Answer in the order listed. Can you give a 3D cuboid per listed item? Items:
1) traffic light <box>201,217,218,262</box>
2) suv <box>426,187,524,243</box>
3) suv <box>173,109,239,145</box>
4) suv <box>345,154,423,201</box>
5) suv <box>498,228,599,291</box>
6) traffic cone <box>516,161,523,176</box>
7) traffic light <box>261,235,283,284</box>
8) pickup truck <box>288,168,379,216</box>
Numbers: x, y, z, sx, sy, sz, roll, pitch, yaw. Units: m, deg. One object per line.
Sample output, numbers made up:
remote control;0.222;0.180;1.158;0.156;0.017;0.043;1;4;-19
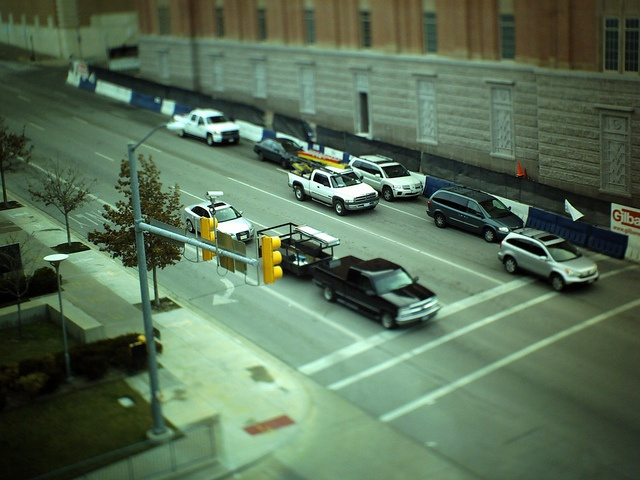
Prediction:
traffic light;-3.458;-0.025;24.058;0.449;1.454;0.711;-3;15;-7
suv;7.859;-1.415;40.234;4.720;1.999;2.125;18;22;34
suv;-7.673;-7.893;54.635;4.050;2.264;1.857;11;19;39
suv;4.077;-3.267;45.206;3.650;2.616;3.028;-13;22;-25
suv;10.183;0.975;34.889;2.151;1.734;4.056;-22;27;-30
traffic cone;11.617;-4.100;44.900;0.368;0.706;0.544;0;15;3
traffic light;-1.427;0.634;22.826;0.538;1.585;0.928;-3;15;-6
pickup truck;0.735;-3.026;44.213;2.694;2.033;6.018;-15;25;-33
